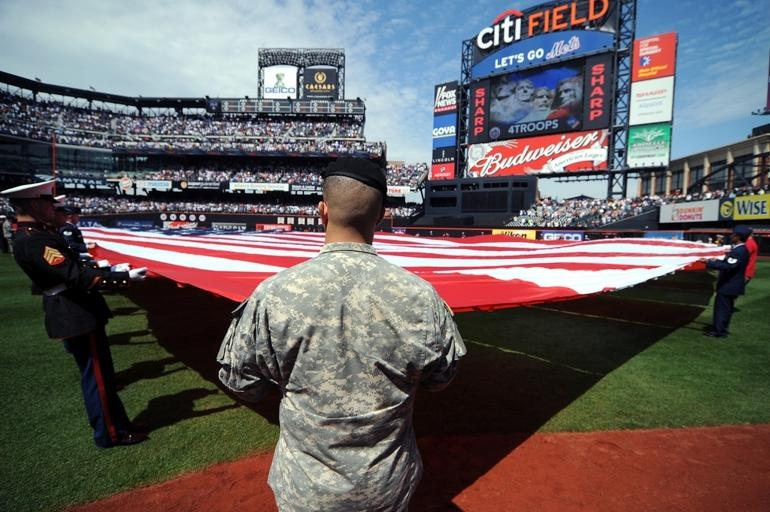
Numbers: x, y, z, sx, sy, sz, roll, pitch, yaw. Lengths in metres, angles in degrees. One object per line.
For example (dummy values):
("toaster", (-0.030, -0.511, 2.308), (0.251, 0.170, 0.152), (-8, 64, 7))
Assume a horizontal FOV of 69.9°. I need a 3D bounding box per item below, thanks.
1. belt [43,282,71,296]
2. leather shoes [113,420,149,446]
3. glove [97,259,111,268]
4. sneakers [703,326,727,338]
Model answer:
("belt", (-5.350, 0.558, 8.935), (0.507, 0.262, 0.113), (2, 11, 1))
("leather shoes", (-4.239, 3.017, 9.238), (0.661, 0.245, 0.233), (1, 0, -22))
("glove", (-5.009, 0.148, 9.723), (0.247, 0.070, 0.210), (7, 8, 43))
("sneakers", (7.400, 1.757, 12.399), (0.170, 0.287, 0.432), (-12, -14, -39))
